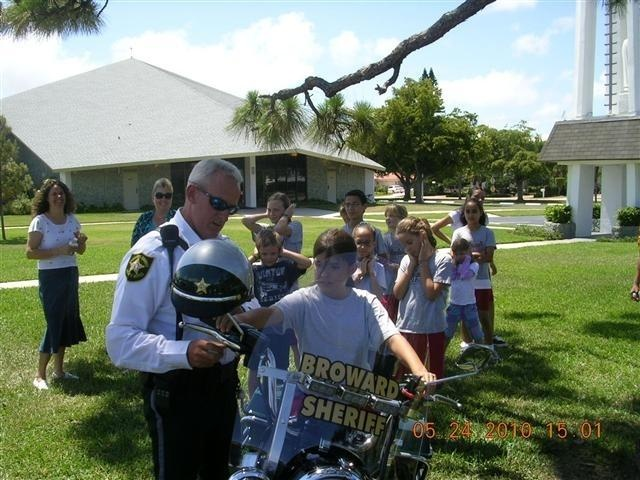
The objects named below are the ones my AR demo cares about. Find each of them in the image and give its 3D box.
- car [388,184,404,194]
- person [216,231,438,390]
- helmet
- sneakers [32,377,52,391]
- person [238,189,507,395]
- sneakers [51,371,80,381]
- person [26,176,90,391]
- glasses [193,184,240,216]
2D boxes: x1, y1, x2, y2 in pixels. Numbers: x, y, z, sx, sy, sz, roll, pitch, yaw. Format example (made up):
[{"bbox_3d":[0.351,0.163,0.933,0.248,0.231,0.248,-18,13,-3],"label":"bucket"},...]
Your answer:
[{"bbox_3d":[10.771,-7.622,86.893,1.898,1.788,3.401,-5,0,-7],"label":"car"},{"bbox_3d":[0.102,0.761,3.811,1.180,1.626,0.495,-4,17,-2],"label":"person"},{"bbox_3d":[-0.589,0.215,3.351,0.337,0.375,0.437,0,-9,-1],"label":"helmet"},{"bbox_3d":[-3.076,1.569,6.785,0.240,0.110,0.088,10,1,43],"label":"sneakers"},{"bbox_3d":[0.474,0.353,4.552,1.030,1.148,1.613,-2,0,-2],"label":"person"},{"bbox_3d":[-2.889,1.544,7.013,0.319,0.135,0.125,2,30,-12],"label":"sneakers"},{"bbox_3d":[-3.007,0.423,7.041,0.641,2.197,0.954,-4,11,-22],"label":"person"},{"bbox_3d":[-0.636,-0.243,3.854,0.242,0.185,0.139,-5,11,-26],"label":"glasses"}]
